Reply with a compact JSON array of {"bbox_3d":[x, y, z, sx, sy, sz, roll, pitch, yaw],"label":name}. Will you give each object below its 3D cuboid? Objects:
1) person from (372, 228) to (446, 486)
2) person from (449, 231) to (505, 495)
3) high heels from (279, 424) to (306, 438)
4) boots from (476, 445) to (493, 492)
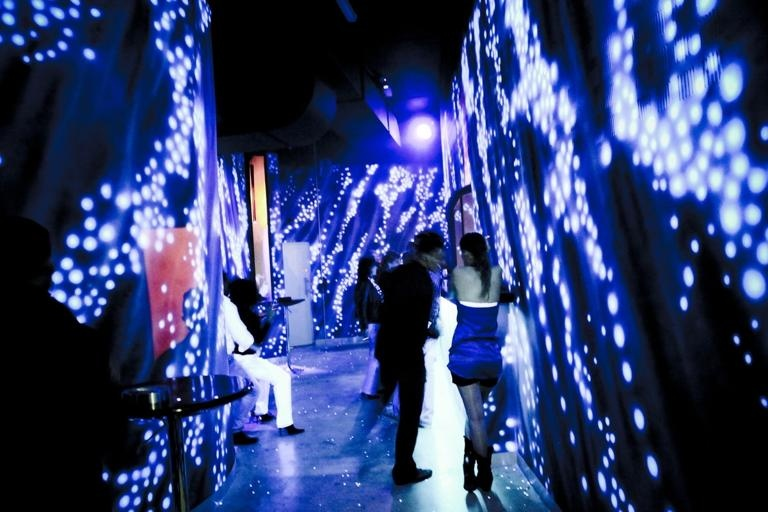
[{"bbox_3d":[0.207,0.704,4.350,0.512,1.726,0.667,-3,5,-1],"label":"person"},{"bbox_3d":[0.610,0.697,3.977,0.309,1.670,0.355,0,6,29],"label":"person"},{"bbox_3d":[-0.792,1.541,5.194,0.245,0.124,0.090,-3,0,-4],"label":"high heels"},{"bbox_3d":[0.653,1.415,3.887,0.108,0.260,0.102,-3,5,2],"label":"boots"}]
